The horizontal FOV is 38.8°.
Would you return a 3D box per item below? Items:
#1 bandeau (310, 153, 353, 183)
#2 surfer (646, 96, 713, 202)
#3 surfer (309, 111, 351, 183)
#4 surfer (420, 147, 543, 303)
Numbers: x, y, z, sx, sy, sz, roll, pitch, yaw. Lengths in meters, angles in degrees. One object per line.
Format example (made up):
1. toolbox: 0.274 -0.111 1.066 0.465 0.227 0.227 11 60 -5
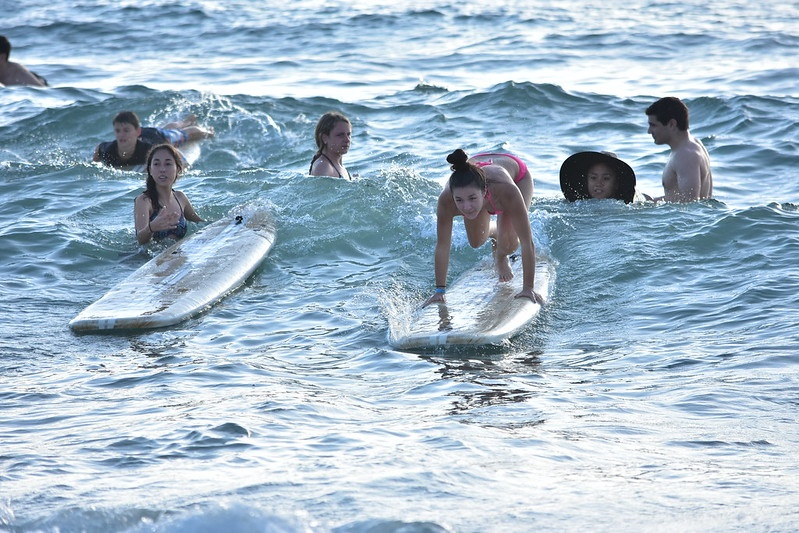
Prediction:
1. bandeau: -0.918 -1.272 14.906 0.443 0.350 0.721 1 3 17
2. surfer: 3.534 -1.426 14.215 1.024 1.315 0.711 8 -17 -5
3. surfer: -0.908 -1.587 14.705 0.545 0.883 0.726 -2 0 -5
4. surfer: 0.943 -0.482 12.235 0.884 1.415 1.977 0 10 -4
